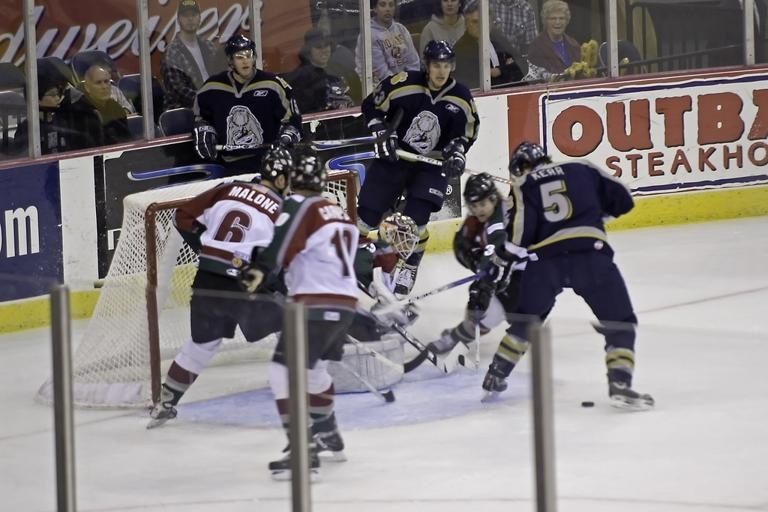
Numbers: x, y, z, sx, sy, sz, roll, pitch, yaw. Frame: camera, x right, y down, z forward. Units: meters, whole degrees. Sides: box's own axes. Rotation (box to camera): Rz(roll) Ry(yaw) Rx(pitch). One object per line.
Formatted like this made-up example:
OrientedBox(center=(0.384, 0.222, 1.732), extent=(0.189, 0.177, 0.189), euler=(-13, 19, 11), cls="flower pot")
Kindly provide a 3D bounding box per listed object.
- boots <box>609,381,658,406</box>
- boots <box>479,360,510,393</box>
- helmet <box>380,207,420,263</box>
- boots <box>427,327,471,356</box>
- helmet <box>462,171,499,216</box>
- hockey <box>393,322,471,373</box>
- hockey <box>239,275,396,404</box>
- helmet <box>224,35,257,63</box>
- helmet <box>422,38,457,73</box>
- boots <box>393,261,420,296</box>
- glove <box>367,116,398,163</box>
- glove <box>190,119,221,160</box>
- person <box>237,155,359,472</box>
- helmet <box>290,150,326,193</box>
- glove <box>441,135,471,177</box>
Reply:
OrientedBox(center=(0.884, 0.491, 3.824), extent=(0.189, 0.103, 0.058), euler=(4, -28, 2), cls="boots")
OrientedBox(center=(0.449, 0.485, 4.313), extent=(0.078, 0.078, 0.199), euler=(-1, -1, 10), cls="boots")
OrientedBox(center=(0.095, -0.110, 5.948), extent=(0.268, 0.228, 0.198), euler=(13, 6, -3), cls="helmet")
OrientedBox(center=(0.286, 0.372, 4.724), extent=(0.133, 0.054, 0.224), euler=(0, -13, -27), cls="boots")
OrientedBox(center=(0.506, -0.342, 5.650), extent=(0.193, 0.206, 0.224), euler=(-6, 24, 13), cls="helmet")
OrientedBox(center=(0.306, 0.382, 4.949), extent=(0.338, 0.096, 0.332), euler=(-28, 14, -40), cls="hockey")
OrientedBox(center=(-0.175, 0.415, 5.008), extent=(0.223, 0.414, 0.586), euler=(-26, -44, 18), cls="hockey")
OrientedBox(center=(-0.885, -1.294, 6.650), extent=(0.225, 0.183, 0.169), euler=(-21, 15, -3), cls="helmet")
OrientedBox(center=(0.341, -1.241, 6.486), extent=(0.193, 0.176, 0.231), euler=(-2, 3, -22), cls="helmet")
OrientedBox(center=(0.143, 0.144, 6.608), extent=(0.185, 0.081, 0.247), euler=(-27, 12, 31), cls="boots")
OrientedBox(center=(0.001, -0.723, 6.603), extent=(0.151, 0.262, 0.219), euler=(-2, 3, -13), cls="glove")
OrientedBox(center=(-1.141, -0.742, 6.853), extent=(0.180, 0.213, 0.109), euler=(-1, -6, -35), cls="glove")
OrientedBox(center=(-0.318, 0.185, 4.307), extent=(0.481, 1.208, 0.866), euler=(-2, 3, -7), cls="person")
OrientedBox(center=(-0.324, -0.382, 4.652), extent=(0.145, 0.158, 0.161), euler=(1, 3, -4), cls="helmet")
OrientedBox(center=(0.434, -0.616, 6.558), extent=(0.082, 0.229, 0.174), euler=(23, -56, -29), cls="glove")
